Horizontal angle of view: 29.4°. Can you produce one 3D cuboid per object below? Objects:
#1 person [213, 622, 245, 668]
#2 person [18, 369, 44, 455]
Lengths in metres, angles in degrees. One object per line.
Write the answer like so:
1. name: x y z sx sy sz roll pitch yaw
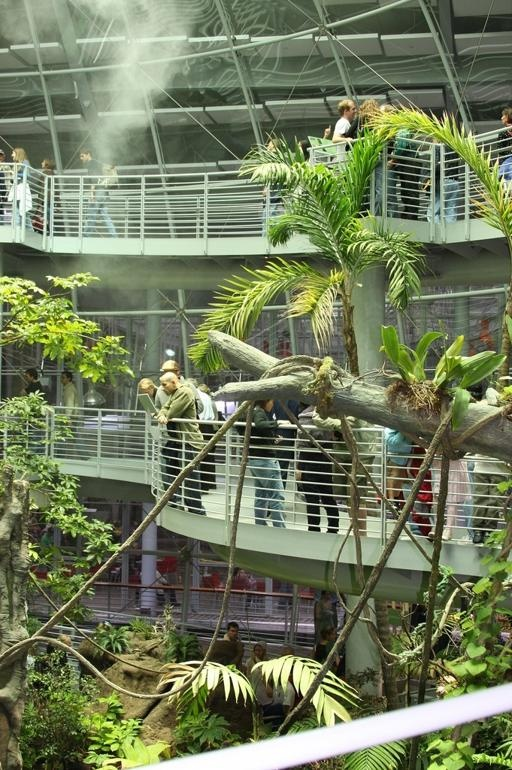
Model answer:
1. person: -0.295 2.619 9.783 0.313 0.426 0.907 1 -7 -2
2. person: -2.922 0.401 12.699 0.334 1.097 0.298 -5 12 -43
